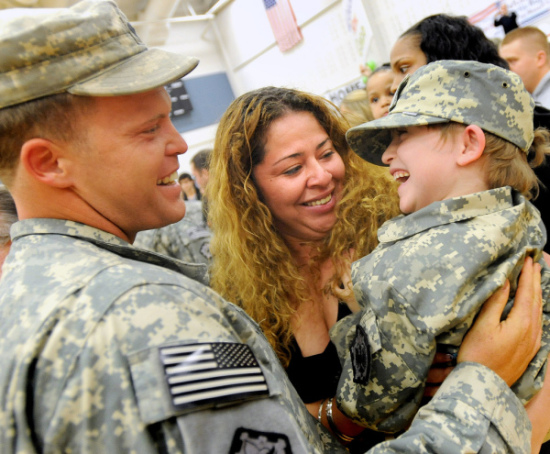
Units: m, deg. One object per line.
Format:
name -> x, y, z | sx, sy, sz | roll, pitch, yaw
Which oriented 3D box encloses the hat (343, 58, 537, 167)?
hat -> 0.634, -0.445, 2.354 | 0.749, 0.269, 0.474 | 9, -6, -2
